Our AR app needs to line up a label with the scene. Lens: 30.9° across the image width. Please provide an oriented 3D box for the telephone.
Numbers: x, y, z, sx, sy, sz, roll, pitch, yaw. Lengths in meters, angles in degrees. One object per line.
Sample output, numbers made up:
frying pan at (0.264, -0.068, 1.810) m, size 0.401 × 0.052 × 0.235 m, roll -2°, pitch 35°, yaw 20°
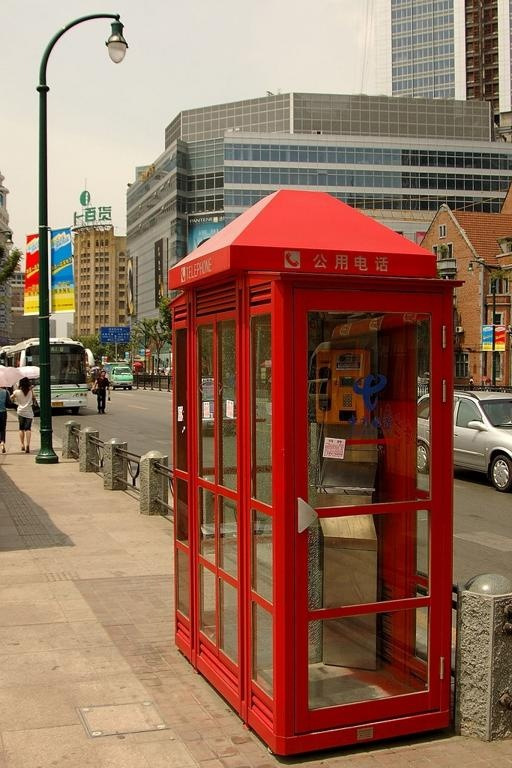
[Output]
telephone at (0.390, 0.019, 4.327) m, size 0.244 × 0.494 × 0.199 m, roll 3°, pitch 3°, yaw 37°

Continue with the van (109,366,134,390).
van at (-10.414, -0.522, 71.993) m, size 0.988 × 1.693 × 2.457 m, roll 0°, pitch -2°, yaw -17°
